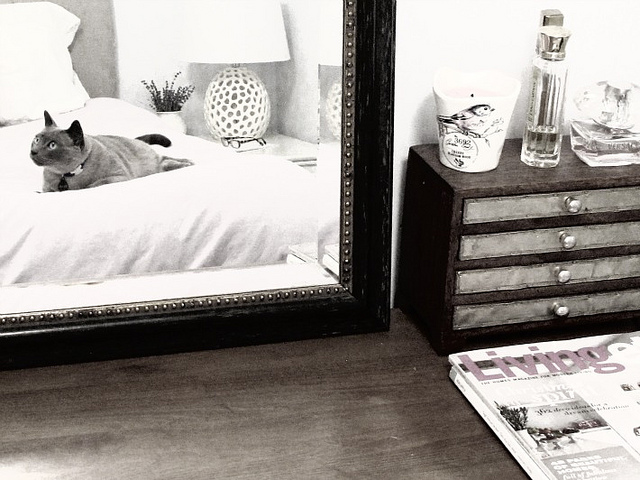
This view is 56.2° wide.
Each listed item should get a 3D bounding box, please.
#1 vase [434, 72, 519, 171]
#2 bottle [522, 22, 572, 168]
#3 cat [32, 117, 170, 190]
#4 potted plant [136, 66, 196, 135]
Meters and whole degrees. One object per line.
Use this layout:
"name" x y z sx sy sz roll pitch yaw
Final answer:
"vase" 0.233 -0.182 0.902 0.146 0.138 0.139 0 23 0
"bottle" 0.339 -0.208 0.880 0.062 0.193 0.080 9 32 18
"cat" -0.307 -0.135 0.854 0.154 0.076 0.097 -11 18 -29
"potted plant" -0.216 -0.195 0.849 0.080 0.094 0.069 -10 17 -25
